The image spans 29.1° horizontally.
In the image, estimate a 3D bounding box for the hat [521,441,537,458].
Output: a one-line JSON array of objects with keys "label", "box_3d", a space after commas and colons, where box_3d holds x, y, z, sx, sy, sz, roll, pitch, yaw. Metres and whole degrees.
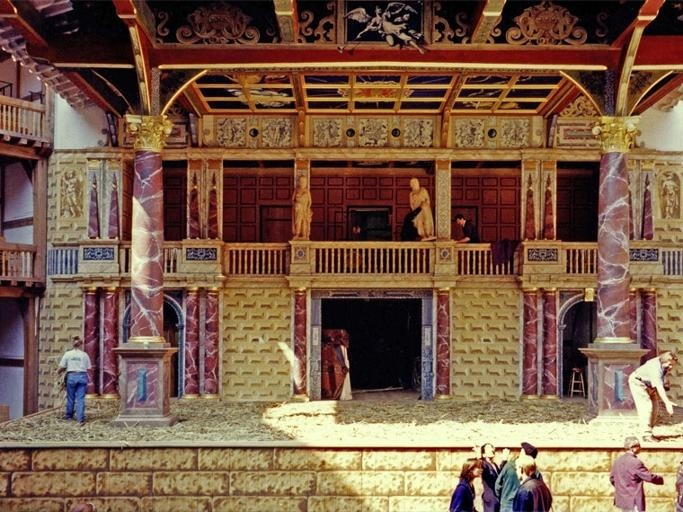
[{"label": "hat", "box_3d": [3.934, 4.108, 27.832, 0.247, 0.126, 0.347, 14, 0, -19]}]

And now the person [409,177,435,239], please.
[{"label": "person", "box_3d": [2.277, -1.286, 37.147, 0.691, 1.762, 0.541, -1, -6, 4]}]

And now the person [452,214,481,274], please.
[{"label": "person", "box_3d": [3.587, -0.568, 38.058, 0.946, 1.860, 0.801, -3, -17, -3]}]
